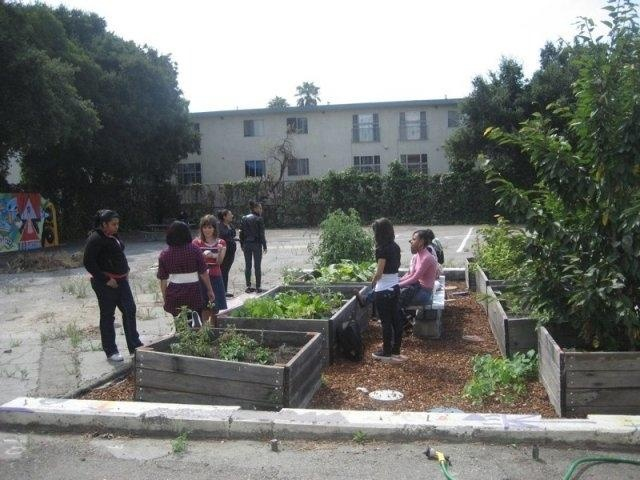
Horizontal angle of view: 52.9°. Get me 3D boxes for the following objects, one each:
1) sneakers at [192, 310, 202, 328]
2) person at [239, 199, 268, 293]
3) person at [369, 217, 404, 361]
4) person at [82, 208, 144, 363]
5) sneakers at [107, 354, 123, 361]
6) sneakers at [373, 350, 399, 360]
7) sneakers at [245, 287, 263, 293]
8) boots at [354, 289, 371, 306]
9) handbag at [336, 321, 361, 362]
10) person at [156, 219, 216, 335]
[{"bbox_3d":[-1.632,1.042,8.450,0.120,0.240,0.189,-3,10,-11],"label":"sneakers"},{"bbox_3d":[-1.392,0.157,13.160,0.511,1.879,0.756,-2,10,-8],"label":"person"},{"bbox_3d":[0.935,0.676,8.966,0.410,1.950,0.516,0,10,5],"label":"person"},{"bbox_3d":[-2.889,0.641,8.910,0.690,2.079,0.825,-4,10,-18],"label":"person"},{"bbox_3d":[-2.833,1.617,8.853,0.152,0.079,0.240,-11,15,-43],"label":"sneakers"},{"bbox_3d":[0.923,1.623,8.998,0.348,0.167,0.140,10,-7,23],"label":"sneakers"},{"bbox_3d":[-1.357,1.035,13.157,0.367,0.196,0.140,-3,-1,4],"label":"sneakers"},{"bbox_3d":[0.660,0.864,9.697,0.124,0.214,0.445,3,22,12],"label":"boots"},{"bbox_3d":[0.380,1.425,8.869,0.383,0.619,0.326,-7,-5,2],"label":"handbag"},{"bbox_3d":[-1.763,0.466,8.737,0.733,1.458,0.790,8,14,42],"label":"person"}]
